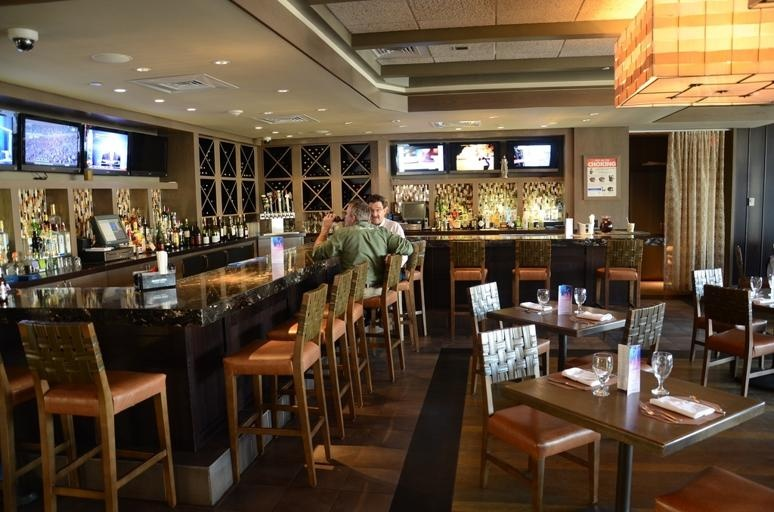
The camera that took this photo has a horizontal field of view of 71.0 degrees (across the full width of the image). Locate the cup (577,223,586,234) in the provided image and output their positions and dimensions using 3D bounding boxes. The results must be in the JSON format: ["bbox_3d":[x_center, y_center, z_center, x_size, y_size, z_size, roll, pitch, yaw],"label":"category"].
[{"bbox_3d":[3.027,-0.412,8.395,0.105,0.154,0.281,-1,6,15],"label":"cup"}]

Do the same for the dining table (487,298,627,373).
[{"bbox_3d":[1.701,0.584,5.182,0.835,0.748,0.819,-3,4,-45],"label":"dining table"}]

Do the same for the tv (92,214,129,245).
[{"bbox_3d":[-3.718,-0.336,7.267,0.207,0.374,0.385,-11,7,10],"label":"tv"}]

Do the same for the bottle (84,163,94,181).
[{"bbox_3d":[-3.934,-1.089,7.167,0.110,0.221,0.236,-7,7,-27],"label":"bottle"}]

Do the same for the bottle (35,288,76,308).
[{"bbox_3d":[-2.698,0.338,4.415,0.300,0.198,0.256,1,3,-5],"label":"bottle"}]

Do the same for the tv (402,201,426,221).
[{"bbox_3d":[0.544,-0.882,10.791,0.635,0.494,0.330,2,10,7],"label":"tv"}]

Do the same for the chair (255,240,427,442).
[{"bbox_3d":[-0.468,0.861,5.366,0.688,1.217,1.804,0,7,11],"label":"chair"}]

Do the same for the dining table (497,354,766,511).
[{"bbox_3d":[1.618,1.008,3.802,1.206,1.089,1.160,0,5,-10],"label":"dining table"}]

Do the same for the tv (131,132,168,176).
[{"bbox_3d":[-3.595,-1.519,8.159,0.107,0.526,0.765,7,5,16],"label":"tv"}]

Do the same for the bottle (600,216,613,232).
[{"bbox_3d":[3.477,-0.476,8.635,0.162,0.251,0.325,-1,7,18],"label":"bottle"}]

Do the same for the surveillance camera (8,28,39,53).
[{"bbox_3d":[-3.090,-1.815,4.622,0.188,0.134,0.182,-9,16,-34],"label":"surveillance camera"}]

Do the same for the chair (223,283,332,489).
[{"bbox_3d":[-0.905,1.015,4.674,0.870,1.545,1.028,-4,7,-7],"label":"chair"}]

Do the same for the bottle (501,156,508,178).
[{"bbox_3d":[2.278,-1.700,10.508,0.140,0.427,0.344,-2,7,11],"label":"bottle"}]
